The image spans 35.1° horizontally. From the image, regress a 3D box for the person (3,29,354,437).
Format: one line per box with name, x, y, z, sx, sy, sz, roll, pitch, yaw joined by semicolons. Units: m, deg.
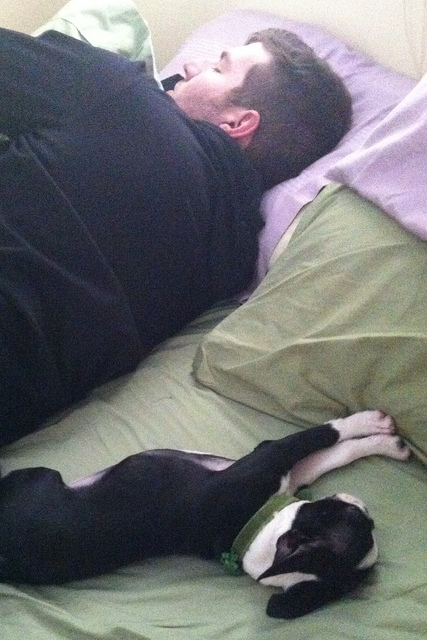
person;-0.063;-0.116;1.063;0.802;0.271;0.218;-16;38;-22
